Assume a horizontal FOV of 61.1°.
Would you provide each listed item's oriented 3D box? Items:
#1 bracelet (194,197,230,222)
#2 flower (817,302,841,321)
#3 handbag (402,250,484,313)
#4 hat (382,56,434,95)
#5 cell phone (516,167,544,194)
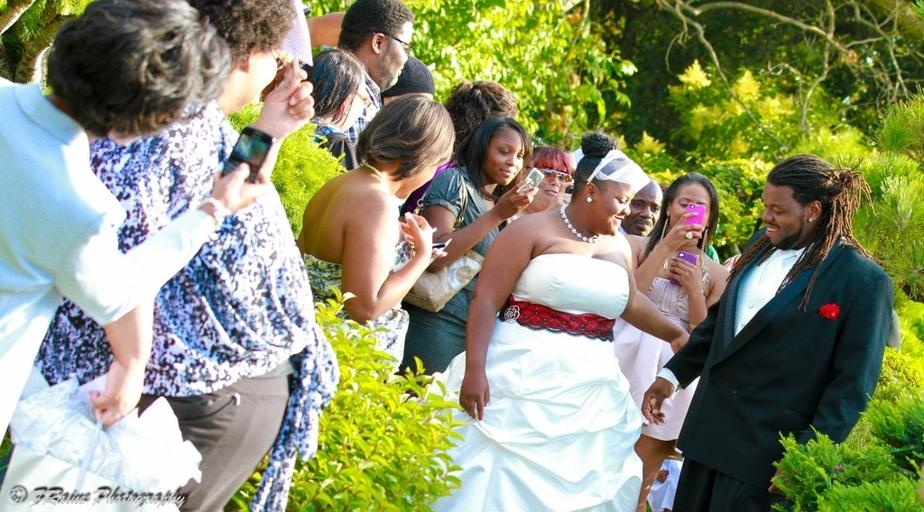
[{"bbox_3d":[-1.114,-0.207,3.522,0.099,0.047,0.126,38,-9,-10],"label":"bracelet"},{"bbox_3d":[2.305,0.359,4.895,0.125,0.108,0.041,12,4,23],"label":"flower"},{"bbox_3d":[-0.115,0.196,5.703,0.146,0.463,0.473,52,5,-10],"label":"handbag"},{"bbox_3d":[-0.440,-1.620,7.124,0.362,0.322,0.525,11,3,10],"label":"hat"},{"bbox_3d":[0.492,-0.532,5.556,0.112,0.157,0.193,12,3,13],"label":"cell phone"}]
